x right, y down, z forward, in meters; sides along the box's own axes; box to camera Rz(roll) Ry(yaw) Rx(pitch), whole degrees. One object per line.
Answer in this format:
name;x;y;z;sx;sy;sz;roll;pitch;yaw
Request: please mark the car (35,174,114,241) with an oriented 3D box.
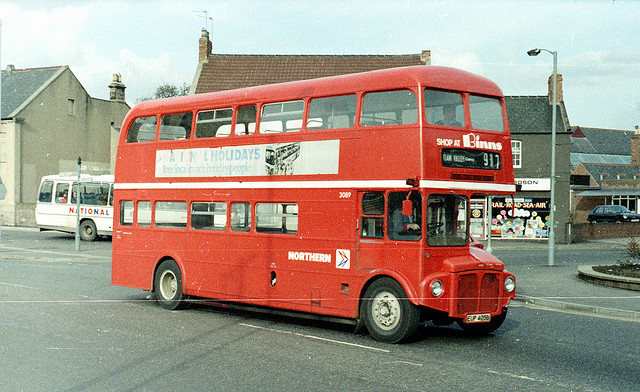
car;-13.429;0.539;43.594;6.391;3.332;2.153;1;-5;-11
